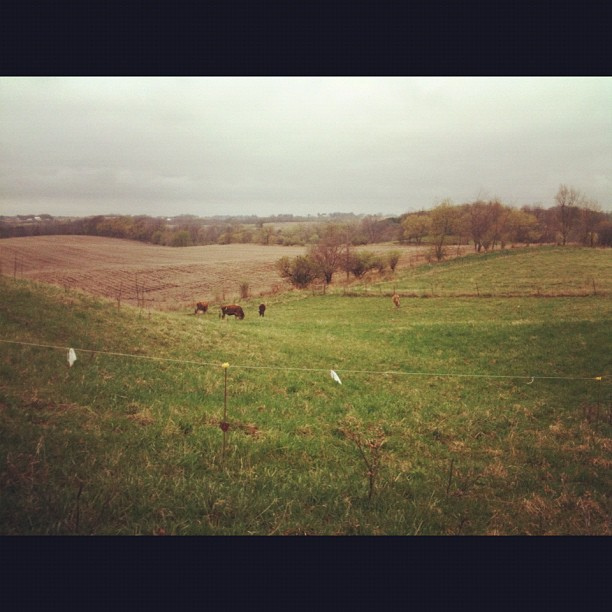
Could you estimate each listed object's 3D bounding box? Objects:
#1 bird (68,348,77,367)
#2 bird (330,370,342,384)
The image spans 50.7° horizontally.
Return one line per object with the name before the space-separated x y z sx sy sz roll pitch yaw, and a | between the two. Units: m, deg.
bird | -4.374 0.940 12.136 0.153 0.431 0.682 -1 9 -21
bird | 0.648 1.536 13.913 0.065 0.254 0.107 -34 -12 -13
